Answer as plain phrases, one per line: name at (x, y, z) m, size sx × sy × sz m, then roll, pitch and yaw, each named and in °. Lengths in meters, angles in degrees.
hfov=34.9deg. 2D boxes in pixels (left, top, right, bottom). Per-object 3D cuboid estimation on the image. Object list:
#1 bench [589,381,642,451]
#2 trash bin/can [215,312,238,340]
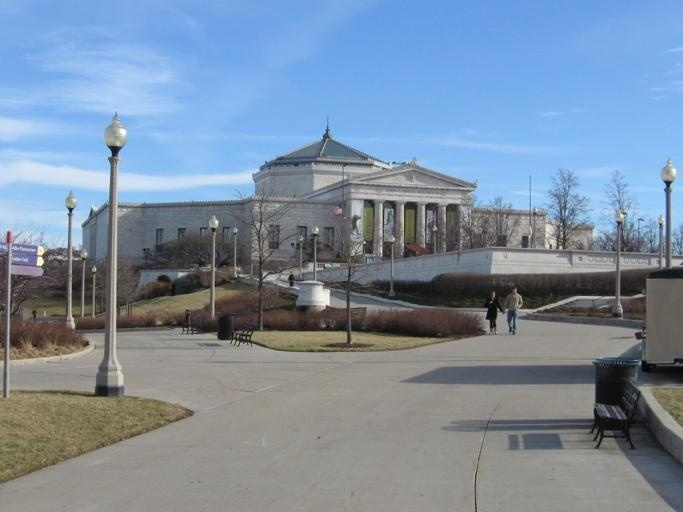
bench at (5.262, 2.994, 20.681) m, size 0.842 × 0.962 × 1.462 m, roll 2°, pitch 7°, yaw 14°
trash bin/can at (-4.019, 2.399, 37.500) m, size 0.775 × 1.246 × 0.827 m, roll -1°, pitch -4°, yaw 10°
